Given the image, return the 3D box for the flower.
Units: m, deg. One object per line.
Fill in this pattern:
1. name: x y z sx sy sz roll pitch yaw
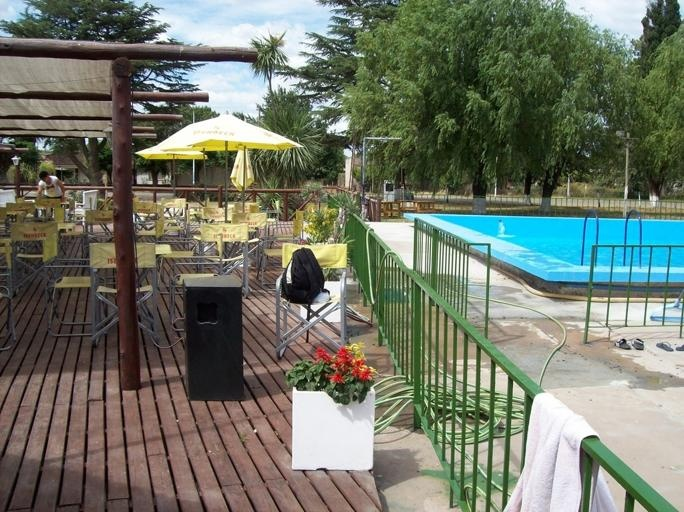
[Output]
1. flower: -0.062 0.834 3.960 0.583 0.313 0.582 2 7 -1

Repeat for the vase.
1. vase: -0.084 1.183 4.126 0.545 0.497 0.560 1 0 -3

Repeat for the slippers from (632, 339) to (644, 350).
1. slippers: 3.829 1.135 7.209 0.101 0.065 0.172 -1 24 13

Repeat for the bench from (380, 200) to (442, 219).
1. bench: 3.511 -2.394 28.927 3.127 0.873 1.727 0 7 -1

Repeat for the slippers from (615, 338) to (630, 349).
1. slippers: 3.620 1.147 7.217 0.105 0.062 0.169 -9 13 -5
